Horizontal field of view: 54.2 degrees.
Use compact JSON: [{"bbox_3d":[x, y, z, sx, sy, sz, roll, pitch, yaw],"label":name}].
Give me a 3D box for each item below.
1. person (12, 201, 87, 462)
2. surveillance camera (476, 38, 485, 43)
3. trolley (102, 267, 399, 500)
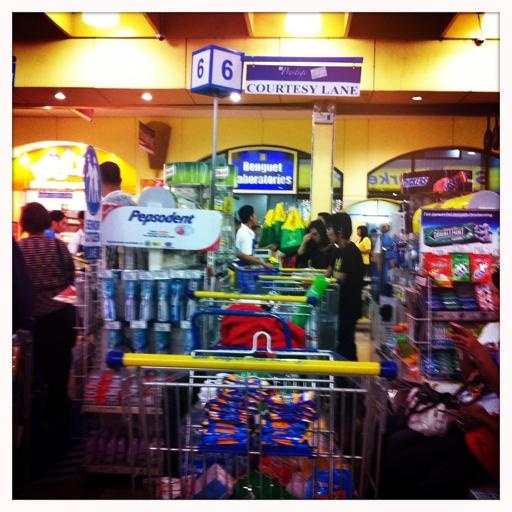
[{"bbox_3d":[-1.313,0.395,3.141,0.355,1.567,0.874,2,0,-26],"label":"person"},{"bbox_3d":[2.803,-2.677,6.250,0.055,0.025,0.077,-1,0,6],"label":"surveillance camera"},{"bbox_3d":[-0.050,0.555,2.190,0.751,1.051,1.207,1,14,3],"label":"trolley"}]
